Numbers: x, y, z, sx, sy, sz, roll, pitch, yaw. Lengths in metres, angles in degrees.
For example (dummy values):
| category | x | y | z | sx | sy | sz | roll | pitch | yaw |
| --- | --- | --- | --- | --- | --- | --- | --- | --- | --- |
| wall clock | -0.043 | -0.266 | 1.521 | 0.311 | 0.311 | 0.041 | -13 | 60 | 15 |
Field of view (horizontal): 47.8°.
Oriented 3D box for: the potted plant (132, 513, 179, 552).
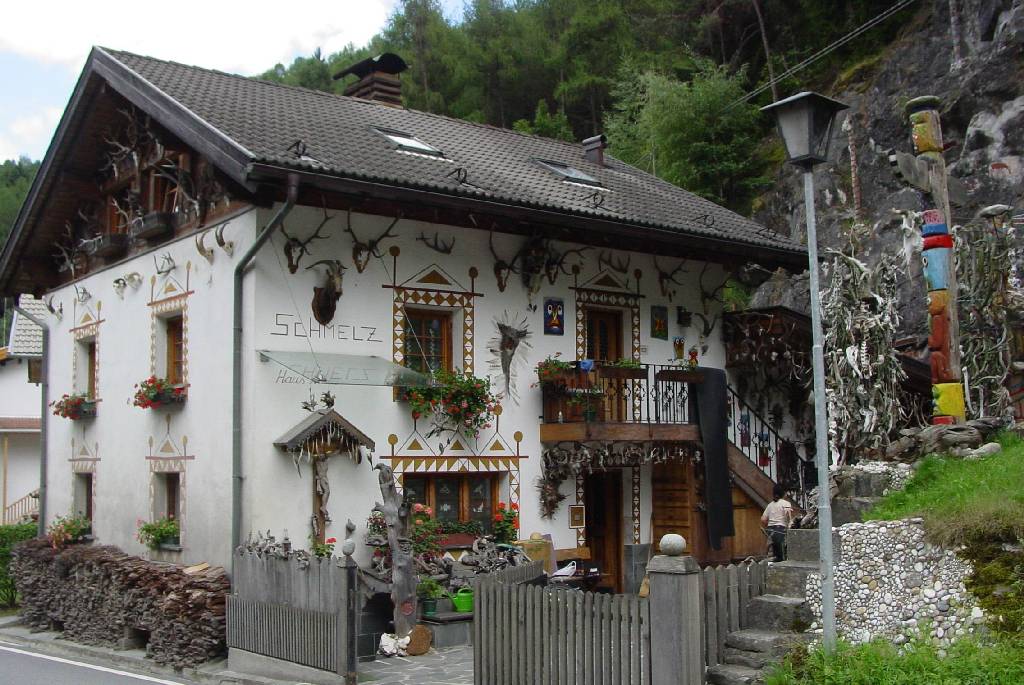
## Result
| category | x | y | z | sx | sy | sz | roll | pitch | yaw |
| --- | --- | --- | --- | --- | --- | --- | --- | --- | --- |
| potted plant | -6.883 | 3.742 | 22.411 | 1.239 | 0.639 | 0.565 | -10 | -14 | 40 |

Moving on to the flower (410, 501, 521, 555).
| category | x | y | z | sx | sy | sz | roll | pitch | yaw |
| --- | --- | --- | --- | --- | --- | --- | --- | --- | --- |
| flower | -1.002 | 3.558 | 22.032 | 0.806 | 0.975 | 2.513 | -10 | -14 | 42 |

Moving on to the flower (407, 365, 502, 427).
| category | x | y | z | sx | sy | sz | roll | pitch | yaw |
| --- | --- | --- | --- | --- | --- | --- | --- | --- | --- |
| flower | -0.839 | 1.007 | 22.297 | 1.295 | 0.879 | 1.065 | 14 | -9 | -22 |

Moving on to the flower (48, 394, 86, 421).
| category | x | y | z | sx | sy | sz | roll | pitch | yaw |
| --- | --- | --- | --- | --- | --- | --- | --- | --- | --- |
| flower | -9.549 | 1.395 | 25.130 | 0.682 | 0.572 | 0.687 | 2 | -3 | 2 |

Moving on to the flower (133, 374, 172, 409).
| category | x | y | z | sx | sy | sz | roll | pitch | yaw |
| --- | --- | --- | --- | --- | --- | --- | --- | --- | --- |
| flower | -7.040 | 1.025 | 22.541 | 0.656 | 0.523 | 0.688 | 2 | -28 | -18 |
